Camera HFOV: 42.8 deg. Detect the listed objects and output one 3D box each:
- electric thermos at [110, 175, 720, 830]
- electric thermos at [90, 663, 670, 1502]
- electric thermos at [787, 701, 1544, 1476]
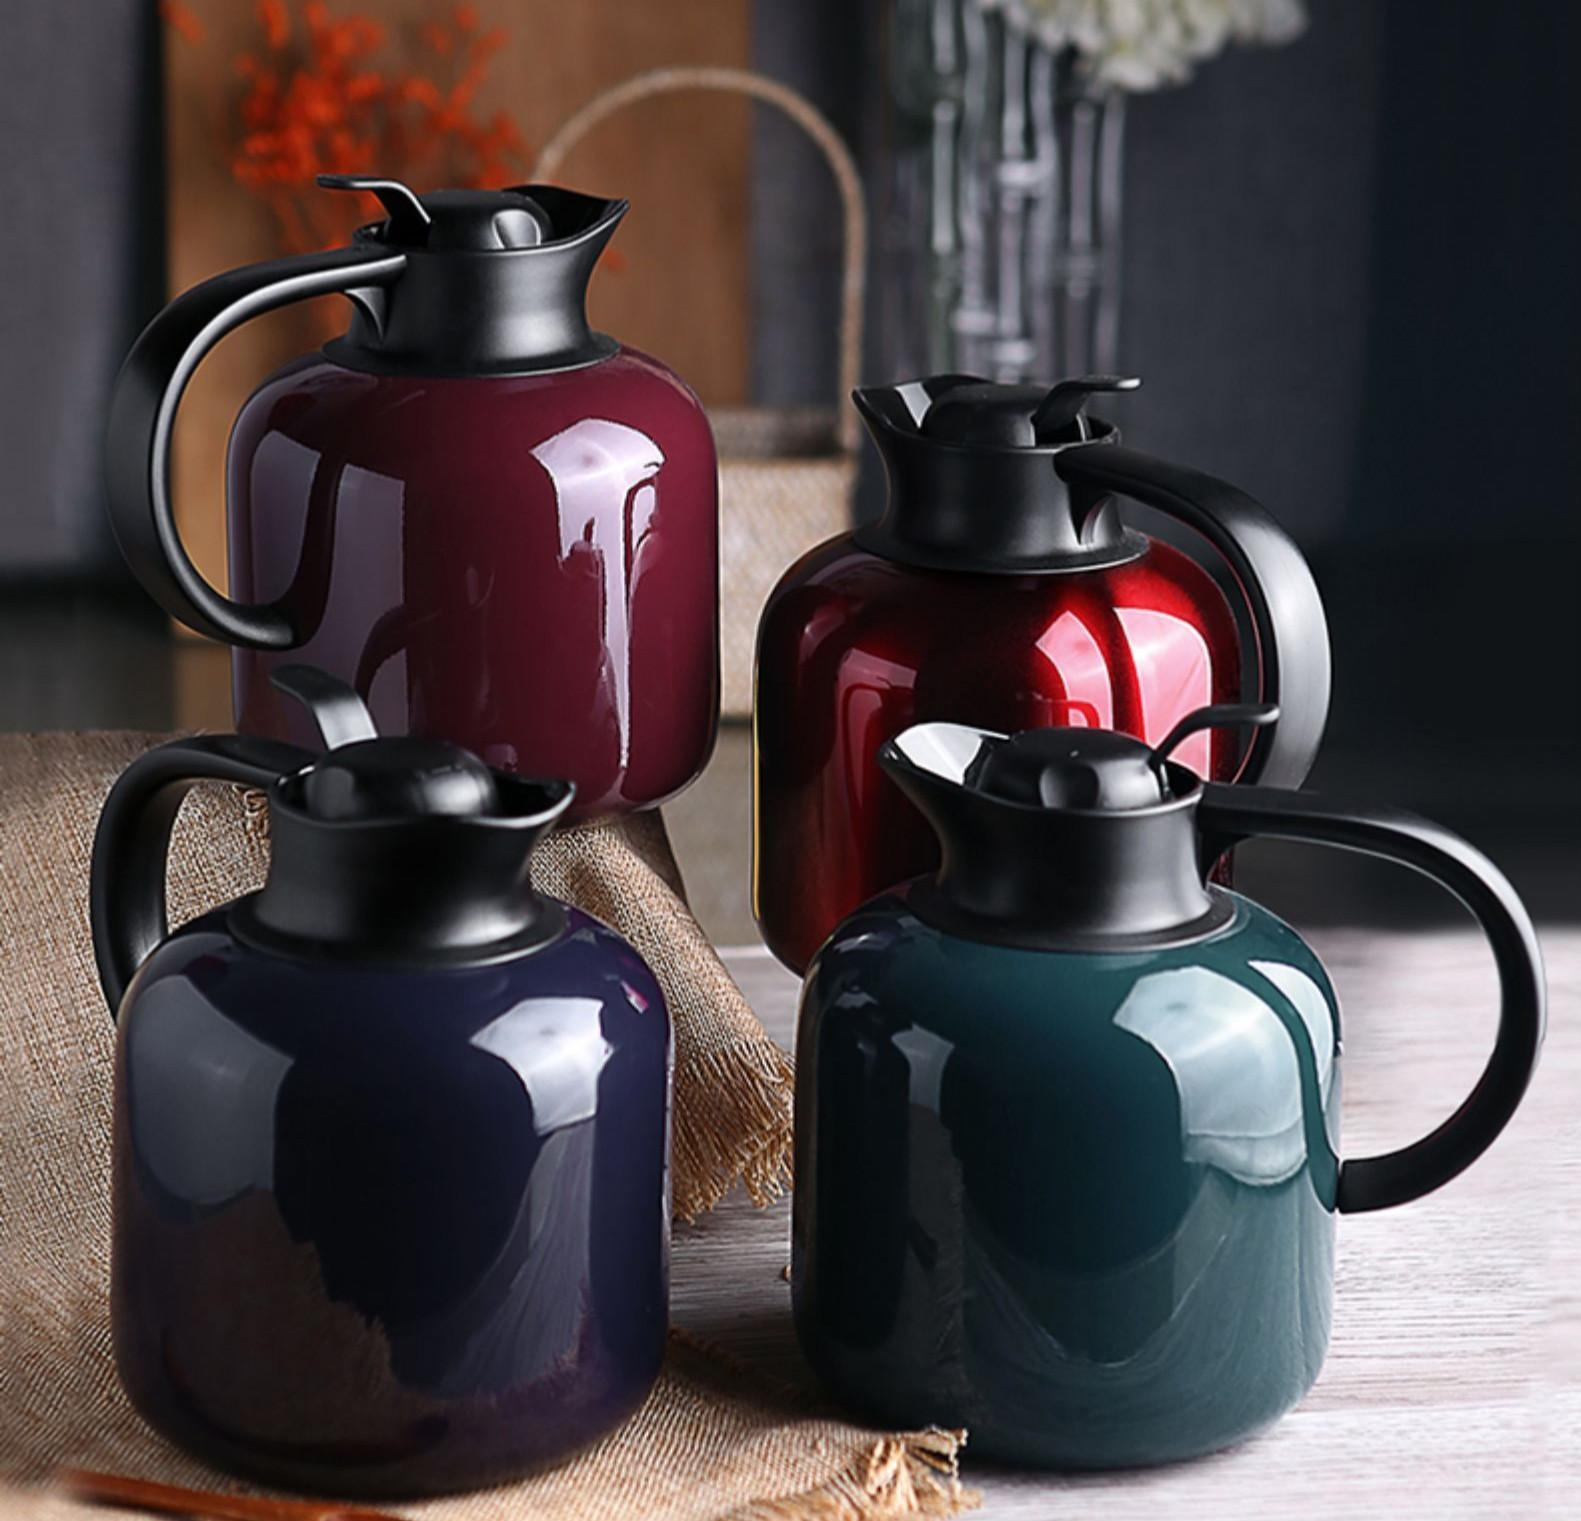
[{"bbox_3d":[-0.123,-0.085,0.655,0.215,0.206,0.129,-14,28,-33],"label":"electric thermos"},{"bbox_3d":[-0.115,0.077,0.549,0.175,0.193,0.144,7,18,19],"label":"electric thermos"},{"bbox_3d":[0.117,0.088,0.560,0.211,0.197,0.135,1,16,14],"label":"electric thermos"}]
